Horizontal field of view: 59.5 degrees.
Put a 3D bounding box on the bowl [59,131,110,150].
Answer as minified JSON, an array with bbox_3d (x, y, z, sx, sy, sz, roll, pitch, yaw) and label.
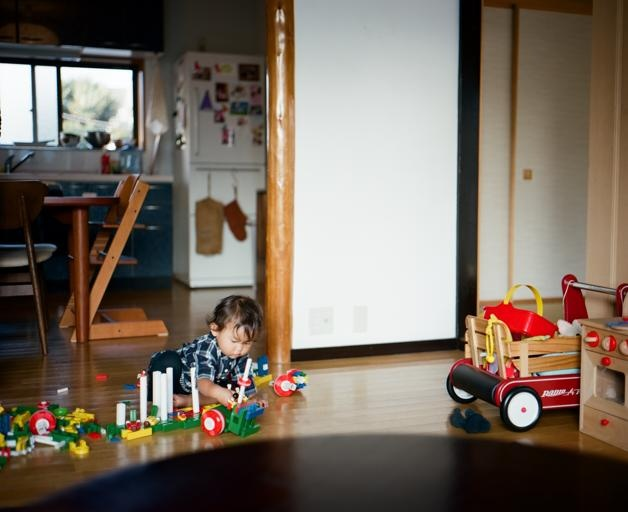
[{"bbox_3d":[-2.207,-1.134,5.364,0.303,0.120,0.222,0,8,-11],"label":"bowl"}]

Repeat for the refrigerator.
[{"bbox_3d":[-0.706,-0.711,5.346,0.879,2.204,0.782,4,4,14],"label":"refrigerator"}]

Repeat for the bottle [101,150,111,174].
[{"bbox_3d":[-2.038,-0.927,5.402,0.089,0.237,0.122,4,-1,-26],"label":"bottle"}]
